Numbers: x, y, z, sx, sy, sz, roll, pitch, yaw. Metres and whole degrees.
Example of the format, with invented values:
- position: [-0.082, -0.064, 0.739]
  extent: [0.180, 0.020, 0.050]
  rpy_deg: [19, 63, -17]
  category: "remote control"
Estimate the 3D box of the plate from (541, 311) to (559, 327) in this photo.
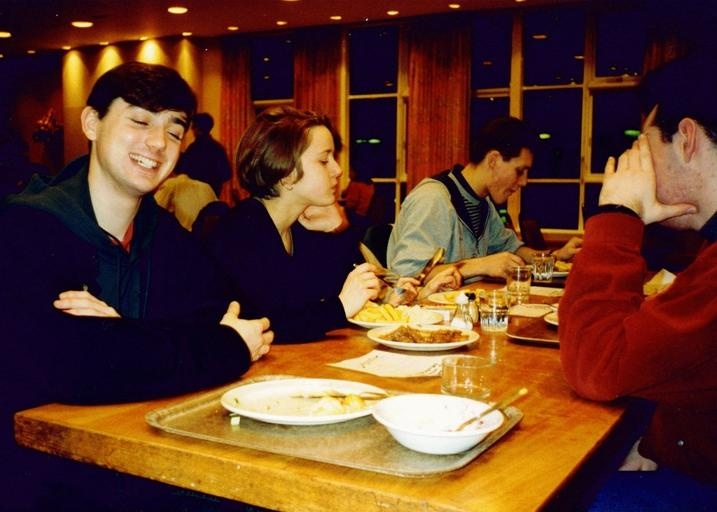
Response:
- position: [0.659, 0.214, 1.959]
  extent: [0.079, 0.011, 0.077]
  rpy_deg: [-7, 18, -16]
  category: "plate"

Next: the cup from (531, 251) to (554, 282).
- position: [1.028, 0.051, 3.231]
  extent: [0.146, 0.165, 0.148]
  rpy_deg: [1, -4, 0]
  category: "cup"

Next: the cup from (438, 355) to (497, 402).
- position: [0.255, 0.270, 1.294]
  extent: [0.110, 0.068, 0.102]
  rpy_deg: [1, 0, 0]
  category: "cup"

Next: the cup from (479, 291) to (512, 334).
- position: [0.471, 0.193, 1.979]
  extent: [0.126, 0.146, 0.130]
  rpy_deg: [0, -2, 0]
  category: "cup"
